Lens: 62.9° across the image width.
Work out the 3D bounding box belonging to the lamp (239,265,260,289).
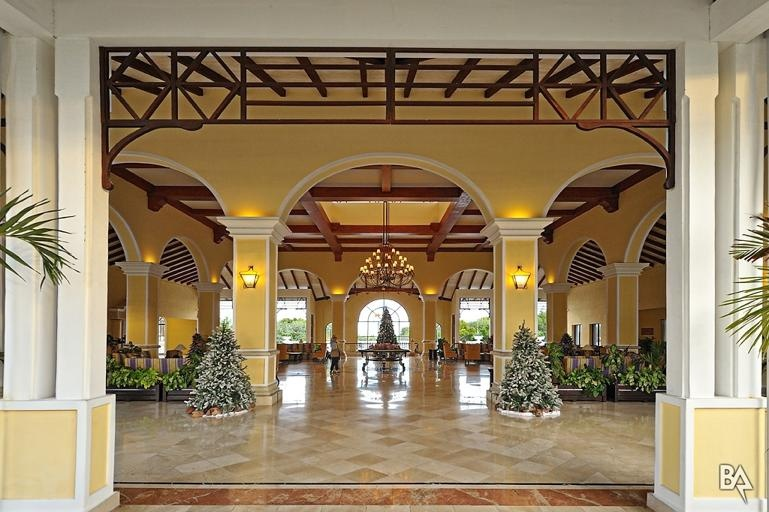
[{"bbox_3d":[-2.572,0.408,11.903,0.380,0.518,0.402,-1,-2,-13],"label":"lamp"}]

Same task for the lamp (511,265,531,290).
[{"bbox_3d":[2.567,0.421,11.977,0.389,0.523,0.399,1,-12,8],"label":"lamp"}]

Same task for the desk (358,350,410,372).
[{"bbox_3d":[0.030,3.182,19.531,1.000,0.504,1.275,-1,-3,8],"label":"desk"}]

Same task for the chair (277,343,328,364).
[{"bbox_3d":[-3.219,3.745,24.293,1.797,0.925,2.593,0,3,-9],"label":"chair"}]

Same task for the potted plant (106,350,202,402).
[{"bbox_3d":[-4.591,2.354,12.403,1.866,0.932,0.410,0,3,1],"label":"potted plant"}]

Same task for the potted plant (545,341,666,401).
[{"bbox_3d":[4.400,2.277,12.419,2.324,1.111,0.443,0,3,2],"label":"potted plant"}]
